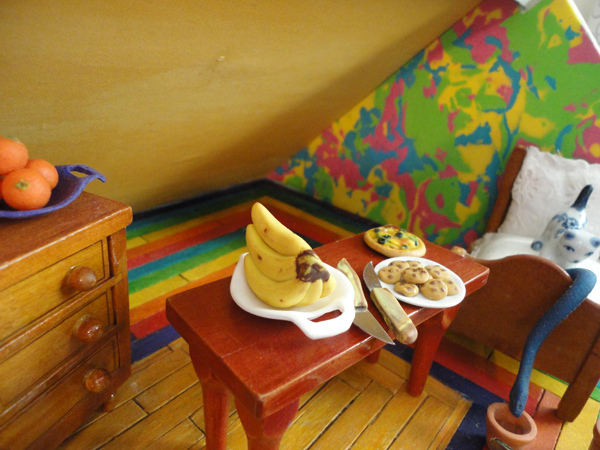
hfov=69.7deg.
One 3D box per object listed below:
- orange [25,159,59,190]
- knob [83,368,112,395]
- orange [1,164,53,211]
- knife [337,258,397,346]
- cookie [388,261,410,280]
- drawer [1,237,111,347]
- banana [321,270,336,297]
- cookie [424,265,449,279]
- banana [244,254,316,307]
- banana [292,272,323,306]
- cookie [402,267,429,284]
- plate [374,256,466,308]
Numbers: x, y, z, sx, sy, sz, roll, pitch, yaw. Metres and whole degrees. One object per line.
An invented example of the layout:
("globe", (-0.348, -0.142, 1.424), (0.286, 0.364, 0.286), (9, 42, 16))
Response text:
("orange", (-0.848, -0.168, 1.413), (0.081, 0.108, 0.085), (-11, -1, 7))
("knob", (-0.702, 0.542, 1.499), (0.083, 0.089, 0.051), (-22, -13, 24))
("orange", (-0.838, -0.115, 1.328), (0.127, 0.132, 0.133), (-9, 36, -24))
("knife", (0.198, 0.215, 1.358), (0.102, 0.013, 0.357), (-11, 39, -17))
("cookie", (0.368, 0.161, 1.569), (0.058, 0.030, 0.060), (-10, 6, -16))
("drawer", (-0.745, 0.196, 1.339), (0.099, 0.154, 0.386), (27, 38, 29))
("banana", (0.081, 0.171, 1.285), (0.037, 0.073, 0.054), (-1, 8, -32))
("cookie", (0.486, 0.164, 1.536), (0.046, 0.016, 0.049), (-19, 36, -34))
("banana", (-0.080, 0.166, 1.316), (0.179, 0.115, 0.109), (7, 6, -1))
("banana", (0.017, 0.184, 1.304), (0.044, 0.148, 0.115), (16, 59, 10))
("cookie", (0.410, 0.167, 1.497), (0.057, 0.029, 0.060), (5, 28, 5))
("plate", (0.418, 0.192, 1.540), (0.308, 0.085, 0.359), (10, 21, 17))
